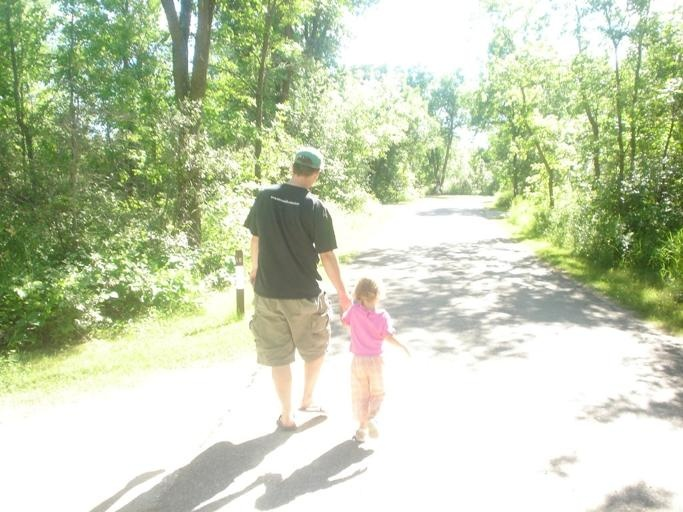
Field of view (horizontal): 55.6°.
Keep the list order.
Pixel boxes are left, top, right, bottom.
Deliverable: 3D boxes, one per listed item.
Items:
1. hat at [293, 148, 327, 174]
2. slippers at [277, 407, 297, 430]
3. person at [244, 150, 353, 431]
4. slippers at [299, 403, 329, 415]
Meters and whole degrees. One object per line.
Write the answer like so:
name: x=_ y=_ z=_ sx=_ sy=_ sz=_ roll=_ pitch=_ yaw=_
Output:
hat: x=-0.380 y=-1.250 z=8.556 sx=0.363 sy=0.316 sz=0.647 roll=9 pitch=7 yaw=1
slippers: x=-0.713 y=2.215 z=8.788 sx=0.275 sy=0.333 sz=0.187 roll=-2 pitch=-12 yaw=22
person: x=-0.622 y=0.436 z=8.559 sx=1.198 sy=3.681 sz=0.509 roll=-2 pitch=7 yaw=-10
slippers: x=-0.362 y=2.073 z=8.981 sx=0.402 sy=0.212 sz=0.151 roll=-5 pitch=-3 yaw=4
